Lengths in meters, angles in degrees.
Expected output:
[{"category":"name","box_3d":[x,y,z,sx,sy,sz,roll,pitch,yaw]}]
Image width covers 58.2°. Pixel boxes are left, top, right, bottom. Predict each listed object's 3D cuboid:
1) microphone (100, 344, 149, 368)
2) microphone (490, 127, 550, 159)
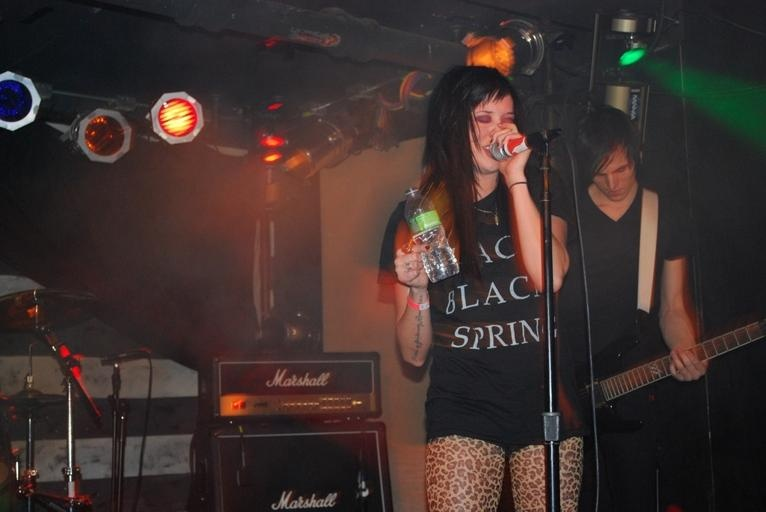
[{"category":"microphone","box_3d":[-1.906,0.747,5.038,0.312,0.141,0.215,6,-19,-23]},{"category":"microphone","box_3d":[0.668,-0.526,3.311,0.326,0.116,0.096,-18,-24,42]}]
